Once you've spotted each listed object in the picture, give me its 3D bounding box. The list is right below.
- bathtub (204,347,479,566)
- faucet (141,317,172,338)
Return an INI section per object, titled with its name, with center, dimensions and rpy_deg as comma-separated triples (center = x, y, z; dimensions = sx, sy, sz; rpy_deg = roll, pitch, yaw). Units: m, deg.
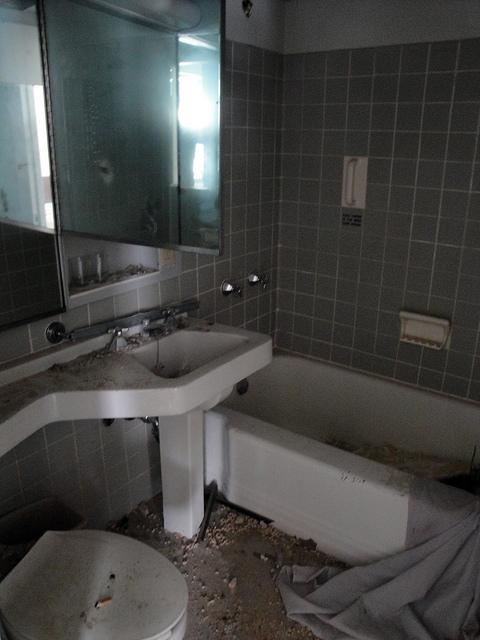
[bathtub]
center = 0.514, 0.611, 2.274
dimensions = 1.229, 0.677, 1.089
rpy_deg = 4, 5, 29
[faucet]
center = -0.343, 0.002, 1.871
dimensions = 0.067, 0.101, 0.080
rpy_deg = 9, 17, 23
